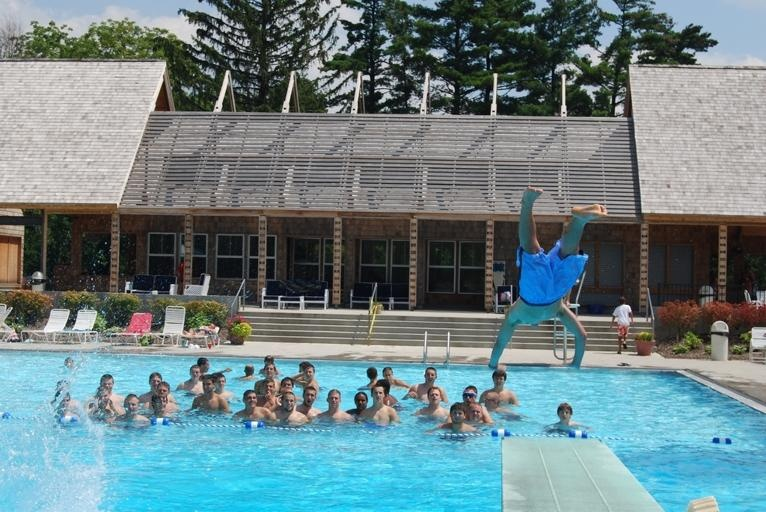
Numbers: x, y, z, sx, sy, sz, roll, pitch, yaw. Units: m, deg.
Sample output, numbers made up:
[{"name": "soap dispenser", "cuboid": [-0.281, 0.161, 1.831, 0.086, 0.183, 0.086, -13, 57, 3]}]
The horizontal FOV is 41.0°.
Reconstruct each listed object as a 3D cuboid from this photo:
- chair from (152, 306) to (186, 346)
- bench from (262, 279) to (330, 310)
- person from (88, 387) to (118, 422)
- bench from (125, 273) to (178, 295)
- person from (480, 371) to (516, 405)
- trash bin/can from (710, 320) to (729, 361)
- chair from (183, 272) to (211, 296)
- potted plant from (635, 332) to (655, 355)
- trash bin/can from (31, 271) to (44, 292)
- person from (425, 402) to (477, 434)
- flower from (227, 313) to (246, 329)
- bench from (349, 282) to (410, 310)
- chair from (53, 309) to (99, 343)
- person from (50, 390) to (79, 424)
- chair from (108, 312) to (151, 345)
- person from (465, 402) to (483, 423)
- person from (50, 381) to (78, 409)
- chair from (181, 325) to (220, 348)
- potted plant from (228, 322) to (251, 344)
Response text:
[{"name": "chair", "cuboid": [-8.657, 2.894, 42.081, 1.165, 1.515, 1.130, 1, -2, 6]}, {"name": "bench", "cuboid": [-4.003, 1.798, 46.557, 2.884, 1.221, 2.462, 1, -2, -8]}, {"name": "person", "cuboid": [-8.890, 4.771, 32.539, 0.882, 1.015, 0.965, -1, -13, -13]}, {"name": "bench", "cuboid": [-10.526, 1.332, 46.494, 2.196, 0.781, 1.250, 1, -2, -7]}, {"name": "person", "cuboid": [3.863, 4.416, 33.915, 1.356, 1.291, 0.844, 4, -10, 7]}, {"name": "trash bin/can", "cuboid": [13.200, 3.350, 39.929, 0.624, 1.502, 0.555, 0, -2, 13]}, {"name": "chair", "cuboid": [-8.460, 1.519, 46.185, 1.226, 1.276, 0.768, 1, -17, -1]}, {"name": "potted plant", "cuboid": [10.653, 3.565, 40.968, 0.774, 0.914, 0.800, 1, -7, -4]}, {"name": "trash bin/can", "cuboid": [-15.466, 1.171, 45.891, 0.560, 0.830, 0.947, 2, -2, -21]}, {"name": "person", "cuboid": [2.326, 5.057, 31.904, 1.190, 0.896, 0.538, 1, -2, 3]}, {"name": "flower", "cuboid": [-6.087, 2.766, 42.438, 0.614, 0.559, 0.563, -6, -1, 13]}, {"name": "bench", "cuboid": [-0.152, 1.899, 47.404, 2.688, 1.160, 1.939, 1, -2, -2]}, {"name": "chair", "cuboid": [-12.530, 2.922, 42.167, 1.544, 1.252, 1.183, 2, -2, -18]}, {"name": "person", "cuboid": [-10.106, 4.811, 32.548, 1.056, 0.910, 0.568, -1, -2, 41]}, {"name": "chair", "cuboid": [-10.300, 3.014, 41.893, 1.600, 1.218, 1.165, 1, -2, -16]}, {"name": "person", "cuboid": [2.863, 4.935, 32.110, 0.521, 0.758, 0.561, -2, -6, -1]}, {"name": "person", "cuboid": [-10.272, 4.481, 32.913, 0.664, 0.529, 1.290, -3, 41, -23]}, {"name": "chair", "cuboid": [-7.468, 3.306, 42.009, 1.485, 0.799, 1.338, 1, -2, -13]}, {"name": "potted plant", "cuboid": [-5.815, 3.190, 42.288, 0.855, 0.925, 0.896, 0, -3, 27]}]
